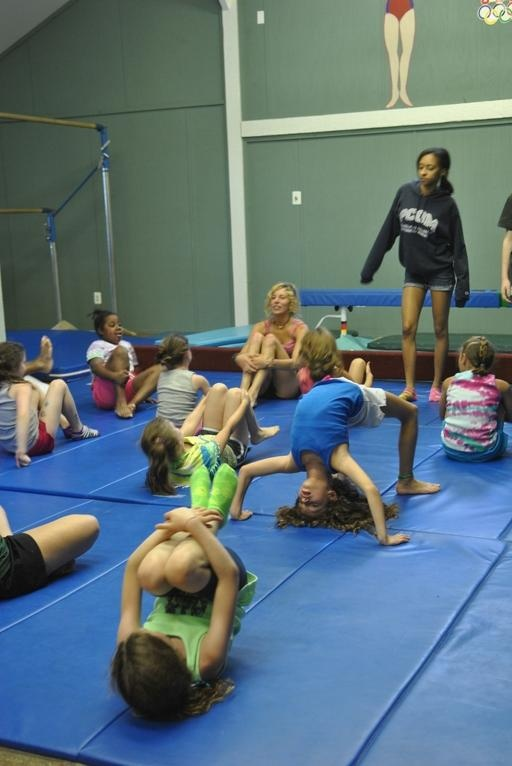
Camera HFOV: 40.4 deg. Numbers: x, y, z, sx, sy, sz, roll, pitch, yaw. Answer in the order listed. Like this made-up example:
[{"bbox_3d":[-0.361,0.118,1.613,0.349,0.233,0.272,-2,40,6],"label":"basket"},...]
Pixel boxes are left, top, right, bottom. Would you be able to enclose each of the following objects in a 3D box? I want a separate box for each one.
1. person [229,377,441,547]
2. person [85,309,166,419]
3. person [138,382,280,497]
[{"bbox_3d":[0.293,0.279,2.679,0.867,0.519,0.925,-8,14,10],"label":"person"},{"bbox_3d":[-0.927,-0.168,5.062,0.557,0.838,0.615,-2,-6,-16],"label":"person"},{"bbox_3d":[-0.237,0.242,3.214,0.285,0.339,0.860,2,19,26],"label":"person"}]
